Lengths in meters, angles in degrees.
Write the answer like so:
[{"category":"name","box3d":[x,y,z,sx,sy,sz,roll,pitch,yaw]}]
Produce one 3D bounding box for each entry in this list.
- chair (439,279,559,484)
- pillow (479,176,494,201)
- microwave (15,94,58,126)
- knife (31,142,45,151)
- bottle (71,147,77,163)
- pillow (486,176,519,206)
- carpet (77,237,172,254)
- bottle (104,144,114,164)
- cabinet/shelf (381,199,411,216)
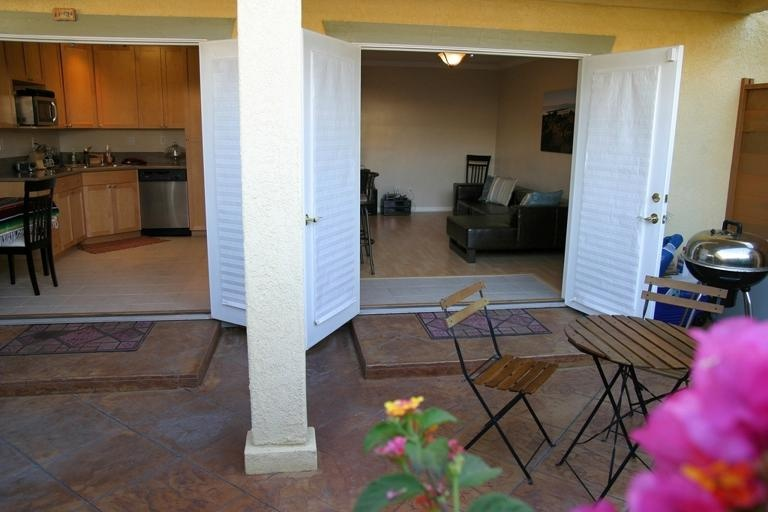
[{"category":"chair","box3d":[0.749,0.748,3.222,0.757,0.956,0.801,-6,16,-43]},{"category":"pillow","box3d":[2.090,-1.389,10.371,0.168,0.463,0.515,13,5,-9]},{"category":"microwave","box3d":[-4.733,-1.972,6.932,0.476,0.376,0.660,2,6,4]},{"category":"knife","box3d":[-5.119,-1.608,7.490,0.179,0.069,0.159,1,18,-17]},{"category":"bottle","box3d":[-5.107,-1.636,8.307,0.091,0.196,0.170,-8,20,-24]},{"category":"pillow","box3d":[2.191,-1.227,9.530,0.164,0.559,0.640,17,9,-25]},{"category":"carpet","box3d":[-4.046,-0.184,7.705,0.780,0.027,1.054,14,20,39]},{"category":"bottle","box3d":[-4.595,-1.686,8.399,0.136,0.274,0.379,-9,19,-27]},{"category":"cabinet/shelf","box3d":[0.238,-1.072,11.043,0.639,0.296,0.390,0,14,-2]}]
